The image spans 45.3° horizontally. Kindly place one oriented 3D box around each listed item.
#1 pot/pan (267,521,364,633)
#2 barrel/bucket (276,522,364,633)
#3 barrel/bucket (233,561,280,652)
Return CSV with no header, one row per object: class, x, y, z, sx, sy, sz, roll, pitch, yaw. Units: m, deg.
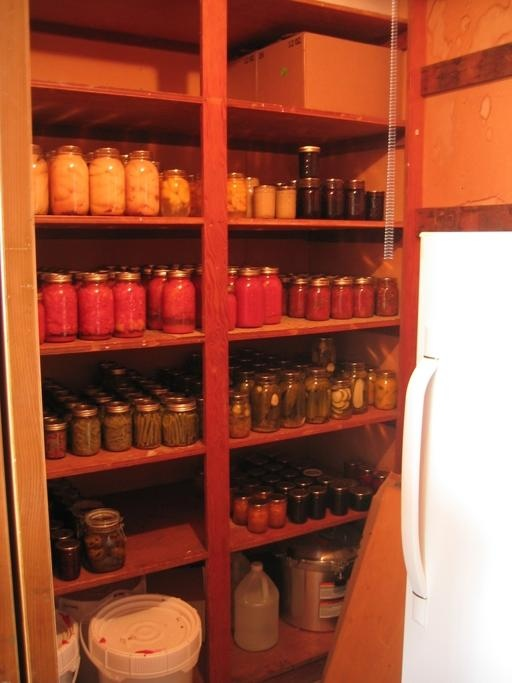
pot/pan,0.223,0.863,2.222,0.344,0.269,0.304,-1,6,-29
barrel/bucket,0.215,0.800,2.244,0.340,0.296,0.304,-3,3,-39
barrel/bucket,0.004,0.896,2.097,0.150,0.261,0.149,1,3,0
